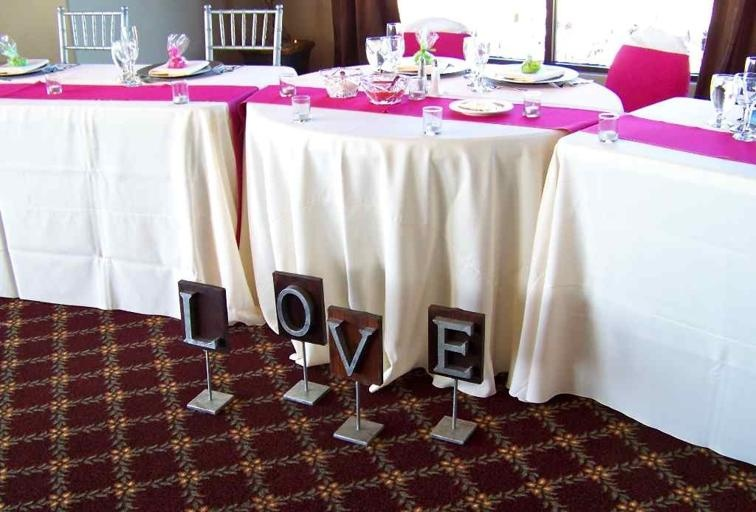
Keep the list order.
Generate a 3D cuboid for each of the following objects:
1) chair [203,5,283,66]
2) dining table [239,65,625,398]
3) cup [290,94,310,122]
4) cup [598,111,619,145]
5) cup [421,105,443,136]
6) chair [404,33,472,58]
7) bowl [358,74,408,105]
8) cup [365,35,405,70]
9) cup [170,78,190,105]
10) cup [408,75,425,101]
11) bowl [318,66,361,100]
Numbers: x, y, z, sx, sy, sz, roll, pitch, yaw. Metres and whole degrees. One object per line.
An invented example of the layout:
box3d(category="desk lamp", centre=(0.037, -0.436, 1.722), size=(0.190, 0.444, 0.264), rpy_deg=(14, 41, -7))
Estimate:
box3d(category="chair", centre=(-1.071, -1.828, 4.745), size=(0.652, 0.464, 2.920), rpy_deg=(-6, 24, -13))
box3d(category="dining table", centre=(0.157, -0.301, 2.791), size=(1.323, 0.846, 1.342), rpy_deg=(3, 23, 5))
box3d(category="cup", centre=(-0.322, -0.615, 2.361), size=(0.097, 0.112, 0.098), rpy_deg=(1, 23, -1))
box3d(category="cup", centre=(0.843, -0.470, 2.083), size=(0.092, 0.108, 0.097), rpy_deg=(-1, 14, 0))
box3d(category="cup", centre=(0.210, -0.522, 2.184), size=(0.101, 0.115, 0.098), rpy_deg=(1, 19, 0))
box3d(category="chair", centre=(0.395, -1.360, 3.660), size=(0.251, 0.117, 0.349), rpy_deg=(3, 12, 5))
box3d(category="bowl", centre=(0.023, -0.778, 2.555), size=(0.163, 0.087, 0.163), rpy_deg=(0, 30, 0))
box3d(category="cup", centre=(0.036, -1.038, 2.932), size=(0.194, 0.161, 0.178), rpy_deg=(2, 25, -1))
box3d(category="cup", centre=(-0.934, -0.773, 2.674), size=(0.073, 0.091, 0.135), rpy_deg=(-10, 25, -21))
box3d(category="cup", centre=(0.180, -0.780, 2.640), size=(0.109, 0.109, 0.102), rpy_deg=(2, 13, 0))
box3d(category="bowl", centre=(-0.170, -0.826, 2.762), size=(0.194, 0.117, 0.195), rpy_deg=(0, 31, 0))
